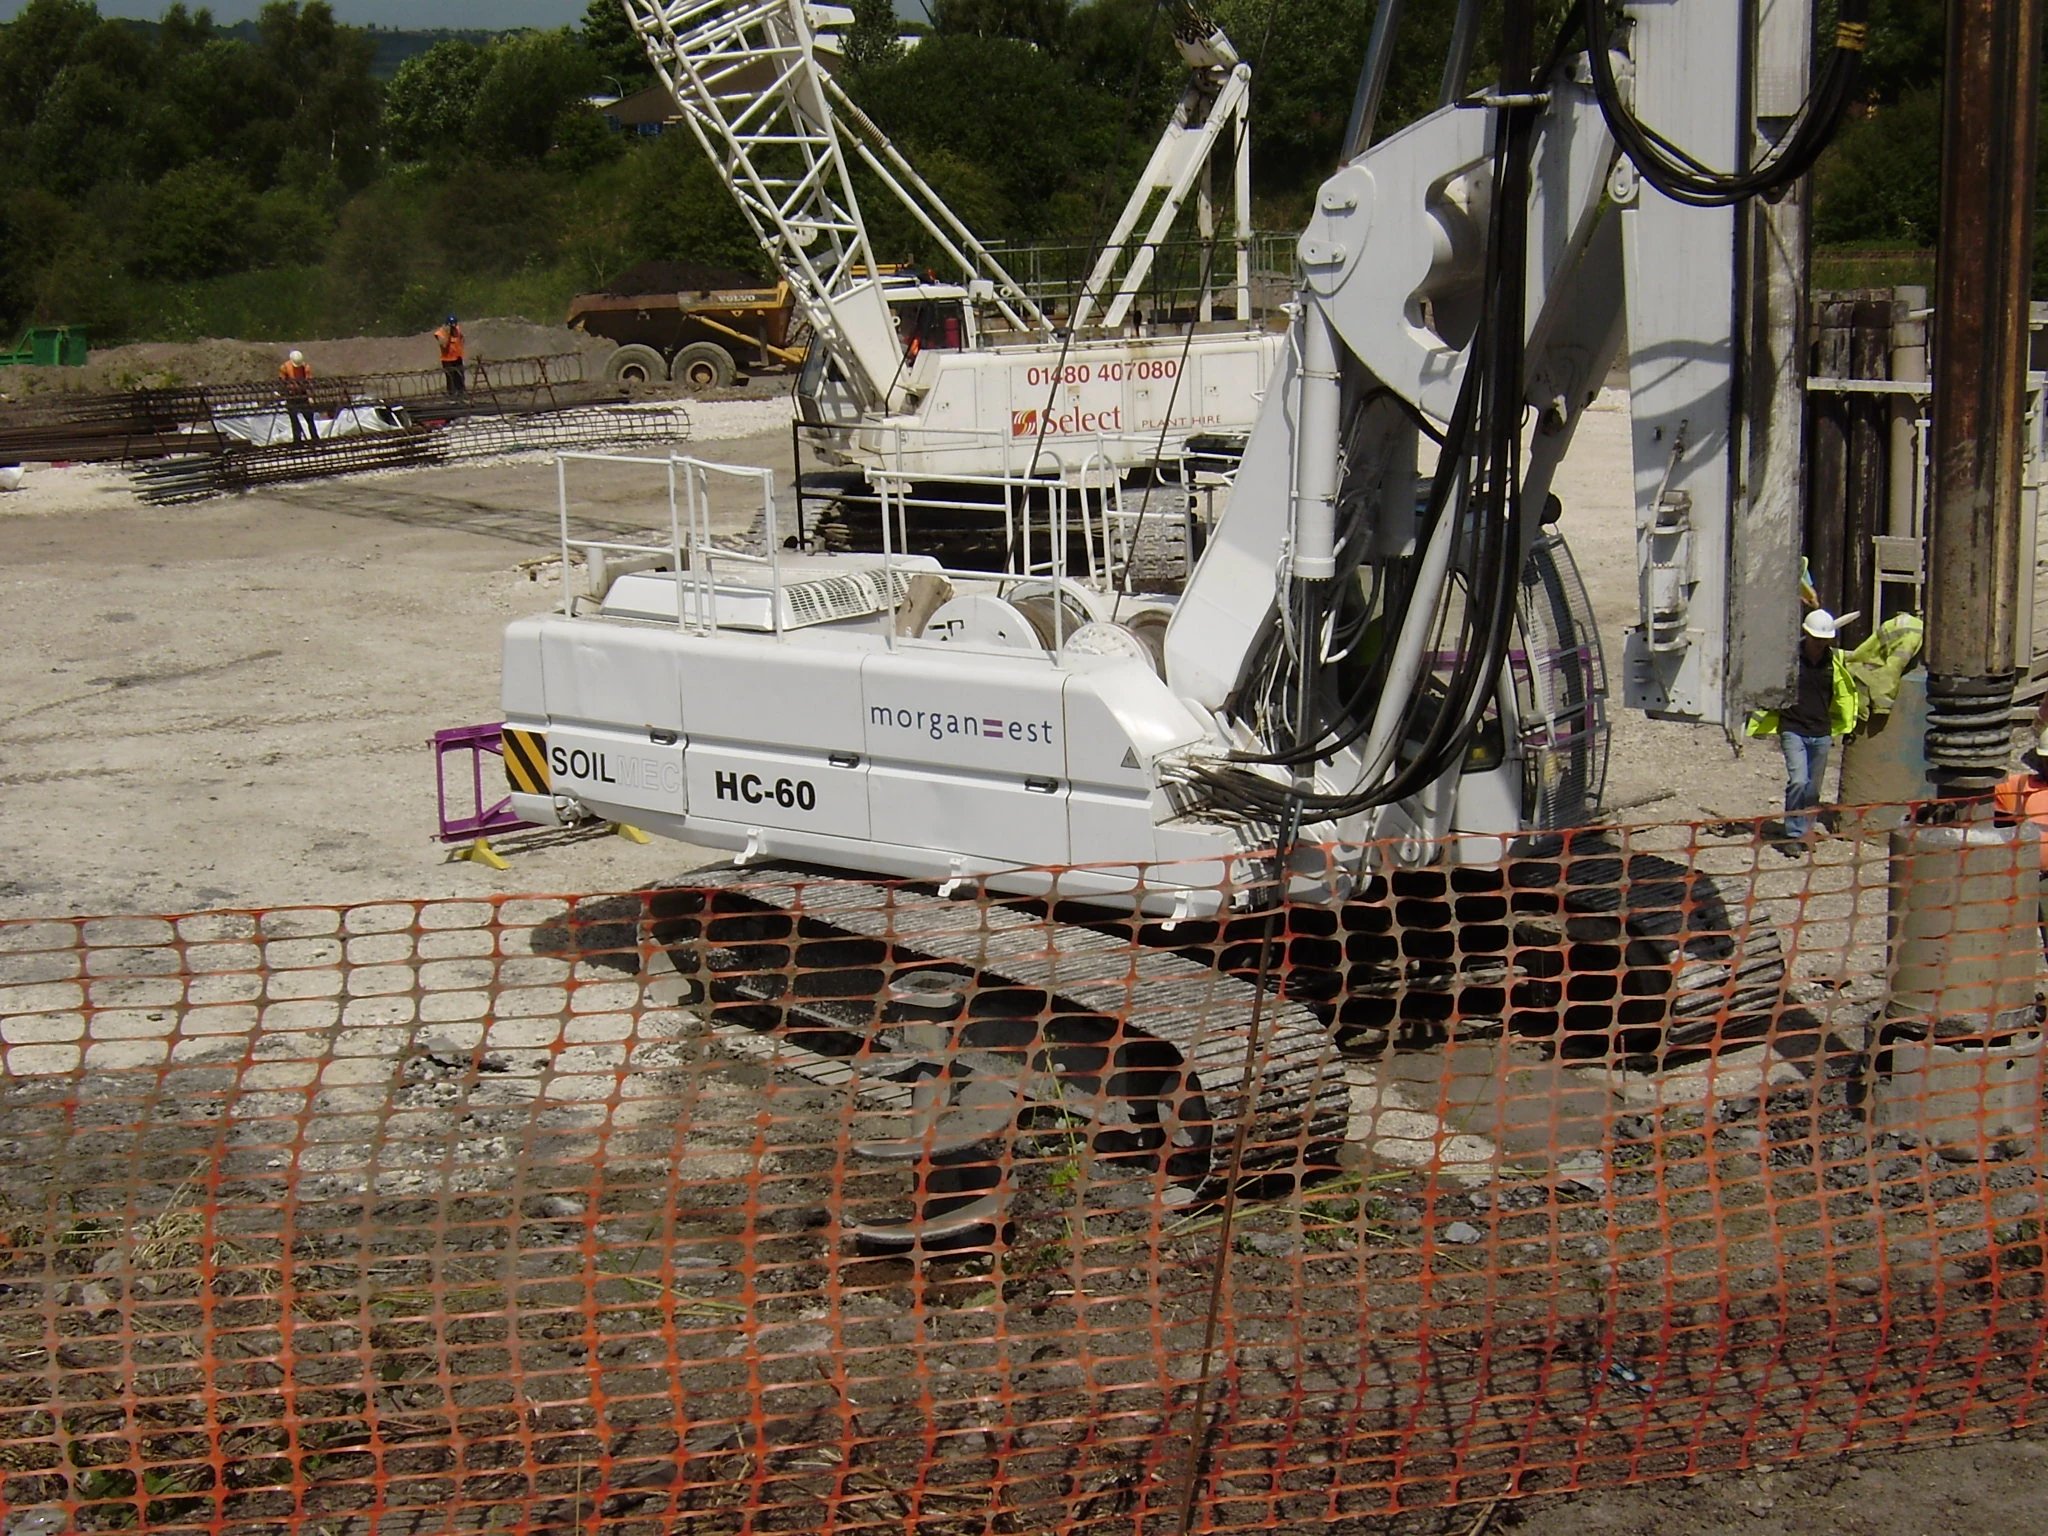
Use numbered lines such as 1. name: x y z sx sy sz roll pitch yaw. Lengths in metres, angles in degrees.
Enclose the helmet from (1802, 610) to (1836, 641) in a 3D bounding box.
1. helmet: 4.149 -0.747 13.466 0.167 0.075 0.190 -2 7 7
